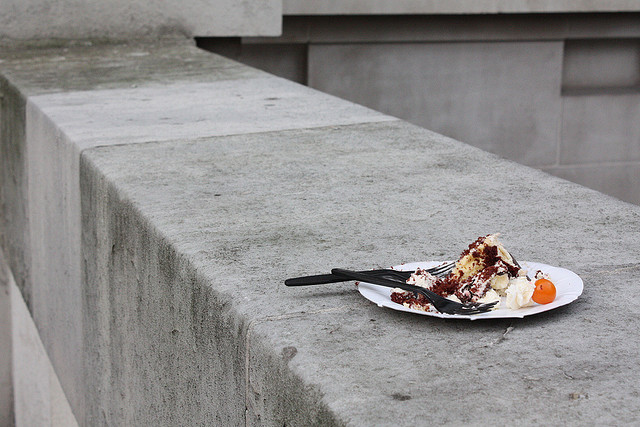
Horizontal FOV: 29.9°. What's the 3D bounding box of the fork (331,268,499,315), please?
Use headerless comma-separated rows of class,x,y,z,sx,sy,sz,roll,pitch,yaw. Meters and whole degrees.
fork,0.358,0.288,4.314,0.628,0.065,0.083,7,27,21

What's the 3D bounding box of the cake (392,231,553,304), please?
cake,0.582,0.221,4.345,0.358,0.111,0.348,-22,24,-40
